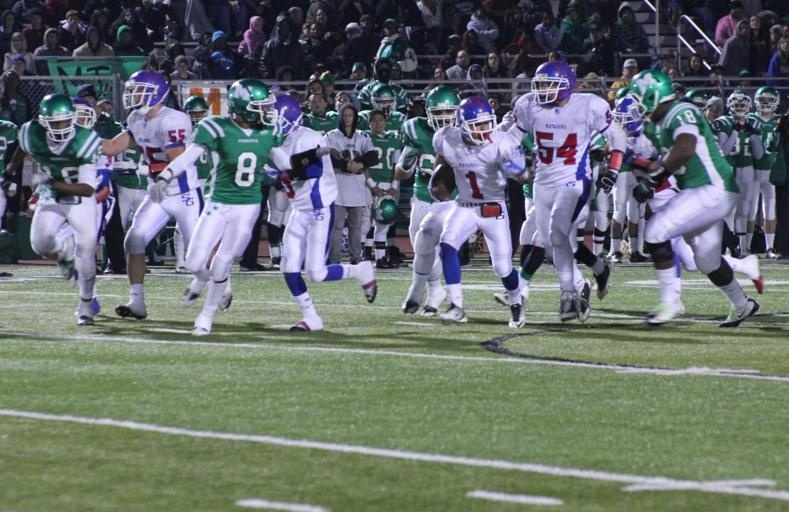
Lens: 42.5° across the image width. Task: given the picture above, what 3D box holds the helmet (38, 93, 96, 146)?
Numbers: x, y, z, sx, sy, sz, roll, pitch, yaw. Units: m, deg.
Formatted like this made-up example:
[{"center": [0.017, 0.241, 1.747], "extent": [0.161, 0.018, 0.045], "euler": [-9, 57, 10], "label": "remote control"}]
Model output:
[{"center": [-2.977, -1.209, 9.037], "extent": [0.326, 0.448, 0.275], "euler": [-4, 11, -17], "label": "helmet"}]

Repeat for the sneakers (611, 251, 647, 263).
[{"center": [3.373, 0.011, 14.653], "extent": [0.380, 0.156, 0.126], "euler": [-1, 22, 5], "label": "sneakers"}]

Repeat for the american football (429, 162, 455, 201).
[{"center": [0.460, -0.706, 9.695], "extent": [0.254, 0.333, 0.206], "euler": [5, 15, -1], "label": "american football"}]

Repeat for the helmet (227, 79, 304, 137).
[{"center": [-1.103, -1.297, 8.947], "extent": [0.655, 0.491, 0.490], "euler": [21, 4, 10], "label": "helmet"}]

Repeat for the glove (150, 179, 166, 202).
[{"center": [-2.020, -0.563, 8.738], "extent": [0.154, 0.141, 0.263], "euler": [-22, 5, 2], "label": "glove"}]

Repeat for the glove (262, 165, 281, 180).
[{"center": [-1.179, -0.792, 9.643], "extent": [0.177, 0.072, 0.109], "euler": [37, 25, 6], "label": "glove"}]

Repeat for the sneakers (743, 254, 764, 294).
[{"center": [3.656, 0.200, 10.376], "extent": [0.173, 0.409, 0.139], "euler": [-6, 34, 26], "label": "sneakers"}]

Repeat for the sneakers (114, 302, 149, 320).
[{"center": [-2.459, 0.522, 9.545], "extent": [0.251, 0.199, 0.351], "euler": [-3, 11, -12], "label": "sneakers"}]

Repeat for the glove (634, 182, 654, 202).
[{"center": [2.159, -0.559, 8.897], "extent": [0.173, 0.127, 0.171], "euler": [-9, 17, -38], "label": "glove"}]

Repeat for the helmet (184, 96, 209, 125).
[{"center": [-2.319, -1.705, 11.947], "extent": [0.235, 0.335, 0.468], "euler": [-3, 11, -14], "label": "helmet"}]

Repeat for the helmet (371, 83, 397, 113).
[{"center": [-0.130, -2.023, 13.000], "extent": [0.297, 0.355, 0.308], "euler": [-1, 11, -5], "label": "helmet"}]

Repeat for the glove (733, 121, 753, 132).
[{"center": [4.904, -1.819, 14.317], "extent": [0.325, 0.132, 0.056], "euler": [-4, 11, -20], "label": "glove"}]

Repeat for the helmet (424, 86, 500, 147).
[{"center": [0.648, -1.273, 9.235], "extent": [0.389, 0.305, 0.591], "euler": [-17, 36, -36], "label": "helmet"}]

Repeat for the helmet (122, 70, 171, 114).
[{"center": [-2.292, -1.524, 9.441], "extent": [0.418, 0.313, 0.356], "euler": [0, 5, -22], "label": "helmet"}]

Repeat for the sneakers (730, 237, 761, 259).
[{"center": [4.932, -0.130, 14.353], "extent": [0.607, 0.247, 0.201], "euler": [-12, 9, -23], "label": "sneakers"}]

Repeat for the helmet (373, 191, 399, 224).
[{"center": [-0.121, -0.582, 12.445], "extent": [0.298, 0.350, 0.353], "euler": [2, 4, -9], "label": "helmet"}]

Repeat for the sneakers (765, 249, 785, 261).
[{"center": [5.556, -0.027, 14.944], "extent": [0.170, 0.108, 0.249], "euler": [0, 2, -6], "label": "sneakers"}]

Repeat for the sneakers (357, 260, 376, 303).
[{"center": [-0.281, 0.235, 9.983], "extent": [0.153, 0.446, 0.179], "euler": [3, 47, 22], "label": "sneakers"}]

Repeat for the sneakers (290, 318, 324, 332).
[{"center": [-0.770, 0.616, 9.107], "extent": [0.244, 0.096, 0.123], "euler": [3, -6, -10], "label": "sneakers"}]

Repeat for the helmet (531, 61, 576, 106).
[{"center": [1.512, -1.664, 9.508], "extent": [0.473, 0.363, 0.354], "euler": [-20, 26, -27], "label": "helmet"}]

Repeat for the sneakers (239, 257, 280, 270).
[{"center": [-1.835, 0.068, 14.043], "extent": [0.616, 0.255, 0.195], "euler": [-2, 12, -11], "label": "sneakers"}]
